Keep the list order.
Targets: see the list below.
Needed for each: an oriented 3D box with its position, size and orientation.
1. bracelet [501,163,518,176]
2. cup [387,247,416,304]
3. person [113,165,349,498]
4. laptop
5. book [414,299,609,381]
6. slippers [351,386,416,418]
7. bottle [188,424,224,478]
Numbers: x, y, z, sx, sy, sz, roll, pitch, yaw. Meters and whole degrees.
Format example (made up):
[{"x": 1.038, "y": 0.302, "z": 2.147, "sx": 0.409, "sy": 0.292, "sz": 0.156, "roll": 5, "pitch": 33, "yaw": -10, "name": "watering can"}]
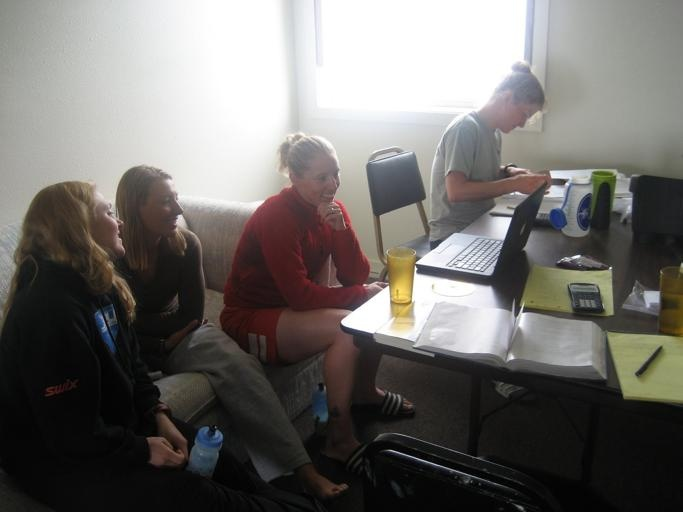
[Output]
[{"x": 0.895, "y": -0.454, "z": 2.561, "sx": 0.075, "sy": 0.019, "sz": 0.076, "roll": 27, "pitch": 65, "yaw": 26, "name": "bracelet"}, {"x": 0.183, "y": 0.062, "z": 1.478, "sx": 0.100, "sy": 0.176, "sz": 0.106, "roll": -3, "pitch": 19, "yaw": 1, "name": "cup"}, {"x": -0.498, "y": 0.273, "z": 1.878, "sx": 1.118, "sy": 1.242, "sz": 0.411, "roll": -2, "pitch": 4, "yaw": 28, "name": "person"}, {"x": 0.473, "y": -0.209, "z": 1.663, "sx": 0.348, "sy": 0.272, "sz": 0.452, "roll": 10, "pitch": 26, "yaw": 29, "name": "laptop"}, {"x": 0.448, "y": 0.217, "z": 1.261, "sx": 0.306, "sy": 0.058, "sz": 0.179, "roll": 9, "pitch": 27, "yaw": 23, "name": "book"}, {"x": 0.196, "y": 0.674, "z": 2.188, "sx": 0.237, "sy": 0.095, "sz": 0.135, "roll": 3, "pitch": 33, "yaw": 17, "name": "slippers"}, {"x": -0.414, "y": 0.589, "z": 1.452, "sx": 0.076, "sy": 0.211, "sz": 0.080, "roll": 15, "pitch": 28, "yaw": -8, "name": "bottle"}]
